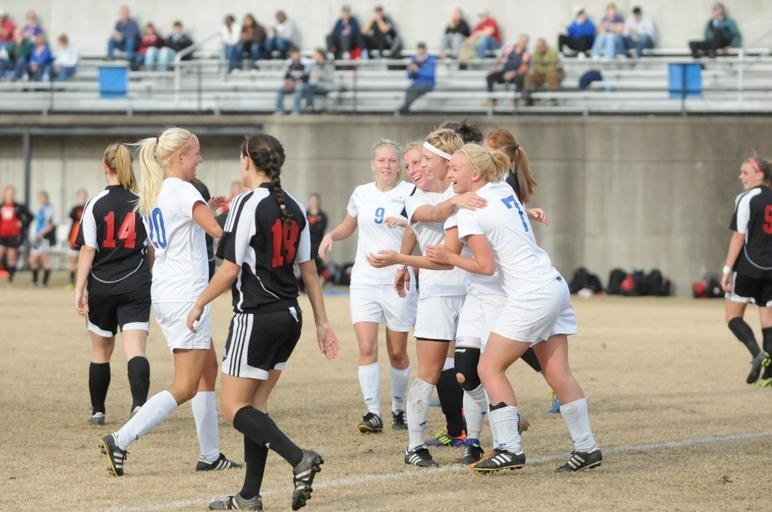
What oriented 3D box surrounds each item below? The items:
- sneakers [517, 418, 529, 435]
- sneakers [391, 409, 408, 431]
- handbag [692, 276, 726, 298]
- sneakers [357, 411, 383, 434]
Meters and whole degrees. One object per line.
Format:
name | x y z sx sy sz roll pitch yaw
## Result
sneakers | 2.315 2.795 24.229 0.119 0.247 0.560 0 6 17
sneakers | 0.246 2.725 24.474 0.239 0.313 0.312 -1 5 0
handbag | 7.362 0.701 33.265 0.395 0.481 0.835 19 19 27
sneakers | -0.220 2.773 24.195 0.190 0.280 0.554 -4 -17 12
